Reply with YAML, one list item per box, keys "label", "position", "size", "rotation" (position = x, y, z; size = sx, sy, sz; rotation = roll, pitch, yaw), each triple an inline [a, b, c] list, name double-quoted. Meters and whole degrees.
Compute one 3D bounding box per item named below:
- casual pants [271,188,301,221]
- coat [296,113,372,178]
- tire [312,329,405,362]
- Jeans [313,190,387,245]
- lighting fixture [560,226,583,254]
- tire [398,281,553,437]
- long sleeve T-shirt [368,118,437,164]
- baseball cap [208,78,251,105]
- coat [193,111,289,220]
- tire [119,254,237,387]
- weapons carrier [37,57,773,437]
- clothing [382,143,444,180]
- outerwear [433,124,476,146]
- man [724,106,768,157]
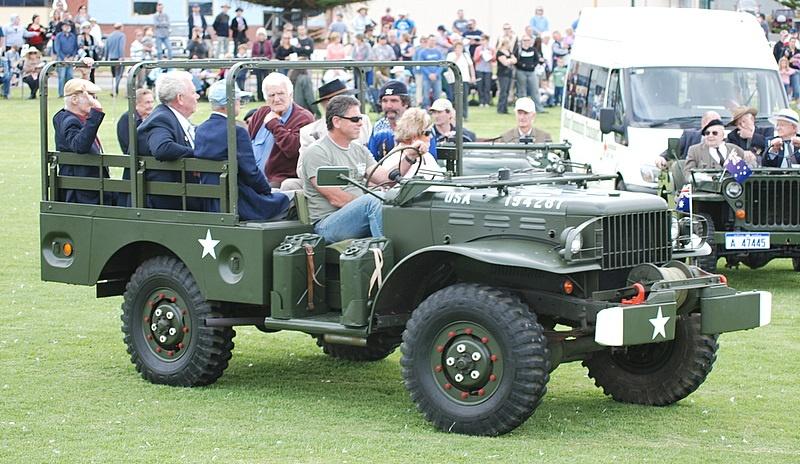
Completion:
- label: "casual pants"
  position: [-1.288, -0.319, 13.355]
  size: [0.282, 0.364, 0.122]
  rotation: [6, -3, -2]
- label: "coat"
  position: [-0.826, -1.010, 13.479]
  size: [0.651, 0.805, 0.400]
  rotation: [4, -7, -8]
- label: "tire"
  position: [-0.502, 1.431, 13.882]
  size: [0.662, 0.284, 0.588]
  rotation: [1, 3, 24]
- label: "Jeans"
  position: [-0.561, -0.136, 12.995]
  size: [0.743, 0.512, 0.433]
  rotation: [-8, 10, 20]
- label: "lighting fixture"
  position: [1.765, 0.082, 11.791]
  size: [0.238, 0.256, 0.227]
  rotation: [1, 14, 4]
- label: "tire"
  position: [0.808, 1.349, 11.966]
  size: [1.054, 1.268, 0.371]
  rotation: [16, 0, 20]
- label: "long sleeve T-shirt"
  position: [-0.009, -1.219, 15.273]
  size: [0.855, 1.057, 0.529]
  rotation: [0, -6, 1]
- label: "baseball cap"
  position: [-1.980, -1.587, 13.103]
  size: [0.386, 0.260, 0.263]
  rotation: [-10, 17, -26]
- label: "coat"
  position: [-1.910, -0.791, 13.410]
  size: [0.816, 1.402, 1.126]
  rotation: [10, 15, 42]
- label: "tire"
  position: [-2.545, 1.031, 13.177]
  size: [1.105, 1.382, 0.417]
  rotation: [7, 3, 28]
- label: "weapons carrier"
  position: [-0.328, 0.364, 13.096]
  size: [7.559, 4.718, 3.763]
  rotation: [4, 7, 39]
- label: "clothing"
  position: [0.154, -0.780, 13.380]
  size: [0.545, 0.304, 0.458]
  rotation: [-1, 0, 7]
- label: "outerwear"
  position: [0.784, -1.441, 16.840]
  size: [0.524, 0.239, 0.415]
  rotation: [-1, 7, -8]
- label: "man"
  position: [5.403, -1.406, 17.747]
  size: [0.516, 1.061, 0.519]
  rotation: [-14, -13, 31]
